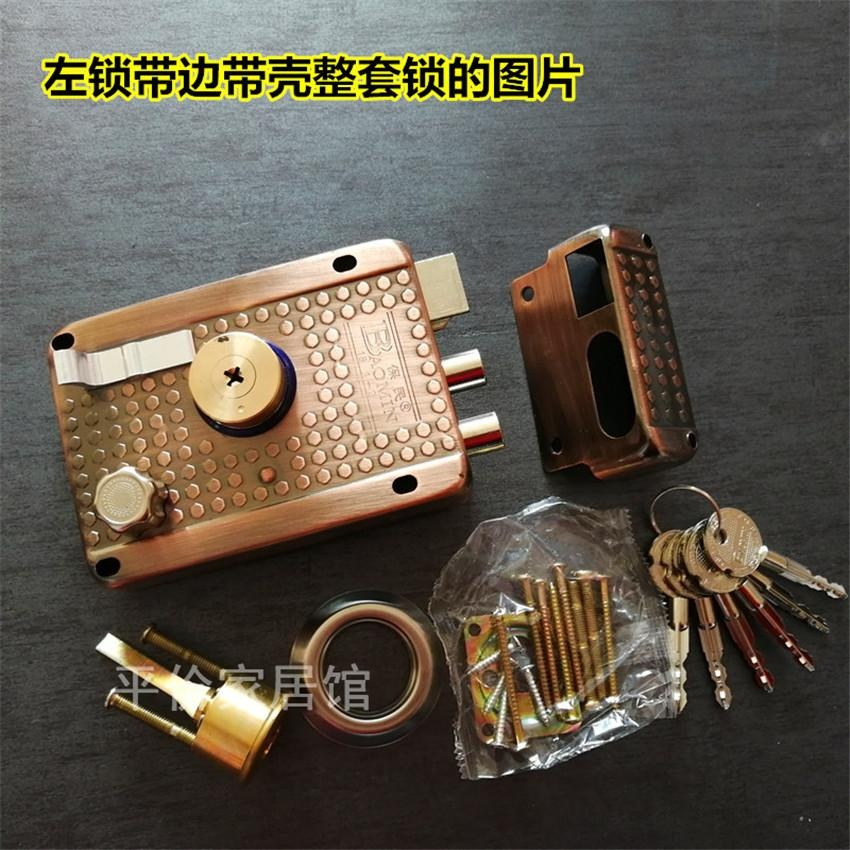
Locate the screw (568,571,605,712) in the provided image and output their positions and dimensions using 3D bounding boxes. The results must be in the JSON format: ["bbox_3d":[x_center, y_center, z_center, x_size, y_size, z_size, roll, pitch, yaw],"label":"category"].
[{"bbox_3d":[0.201,0.275,1.172,0.042,0.039,0.158,4,78,-26],"label":"screw"}]

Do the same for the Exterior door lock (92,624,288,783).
[{"bbox_3d":[-0.261,0.341,1.158,0.276,0.120,0.116,22,73,20],"label":"Exterior door lock"}]

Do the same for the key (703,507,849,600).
[{"bbox_3d":[0.420,0.162,1.157,0.250,0.034,0.078,26,73,-17],"label":"key"}]

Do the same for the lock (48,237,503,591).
[{"bbox_3d":[-0.199,-0.020,1.036,0.493,0.078,0.307,-18,79,-3],"label":"lock"}]

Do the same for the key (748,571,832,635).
[{"bbox_3d":[0.483,0.238,1.221,0.171,0.027,0.031,28,66,-4],"label":"key"}]

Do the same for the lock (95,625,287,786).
[{"bbox_3d":[-0.268,0.346,1.161,0.276,0.120,0.117,22,72,20],"label":"lock"}]

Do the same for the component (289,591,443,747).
[{"bbox_3d":[-0.072,0.311,1.203,0.234,0.065,0.168,0,82,0],"label":"component"}]
